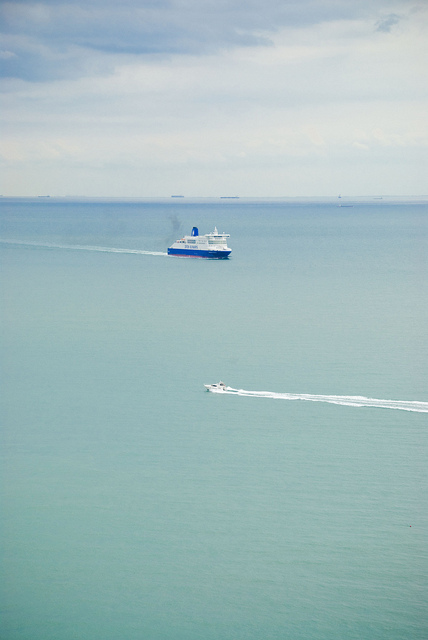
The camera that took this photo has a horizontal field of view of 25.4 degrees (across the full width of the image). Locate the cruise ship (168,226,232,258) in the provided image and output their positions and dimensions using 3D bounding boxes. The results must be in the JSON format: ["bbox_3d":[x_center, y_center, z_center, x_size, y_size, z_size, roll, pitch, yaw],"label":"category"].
[{"bbox_3d":[-0.114,-1.258,15.549,0.410,1.386,0.518,-4,-86,-40],"label":"cruise ship"}]

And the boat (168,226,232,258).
[{"bbox_3d":[-0.126,-1.274,15.540,0.409,1.388,0.525,-4,-86,-40],"label":"boat"}]
